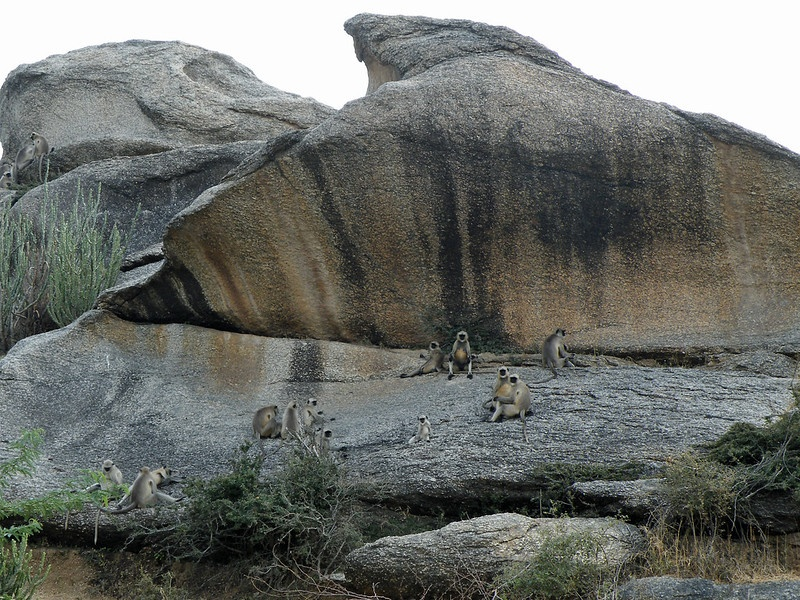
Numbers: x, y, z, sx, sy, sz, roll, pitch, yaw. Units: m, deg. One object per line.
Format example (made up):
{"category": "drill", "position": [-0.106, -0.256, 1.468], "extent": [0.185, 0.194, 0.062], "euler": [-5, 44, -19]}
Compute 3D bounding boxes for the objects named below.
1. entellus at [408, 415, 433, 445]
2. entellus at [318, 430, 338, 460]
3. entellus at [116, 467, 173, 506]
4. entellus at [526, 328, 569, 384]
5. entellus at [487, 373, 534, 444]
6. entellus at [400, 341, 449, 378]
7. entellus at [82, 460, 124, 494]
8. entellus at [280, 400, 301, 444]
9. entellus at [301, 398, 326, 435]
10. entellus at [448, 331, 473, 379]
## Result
{"category": "entellus", "position": [0.283, 1.576, 13.107], "extent": [0.360, 0.418, 0.326], "euler": [-6, -15, 21]}
{"category": "entellus", "position": [-0.916, 1.772, 13.184], "extent": [0.214, 0.280, 0.275], "euler": [18, 19, -6]}
{"category": "entellus", "position": [-2.934, 2.221, 12.800], "extent": [0.463, 0.245, 0.591], "euler": [9, 21, 20]}
{"category": "entellus", "position": [2.153, 0.742, 15.193], "extent": [0.548, 0.486, 1.120], "euler": [-6, 10, 18]}
{"category": "entellus", "position": [1.369, 1.254, 13.182], "extent": [0.317, 0.945, 0.416], "euler": [2, -4, -30]}
{"category": "entellus", "position": [0.448, 0.918, 15.879], "extent": [0.530, 0.449, 0.768], "euler": [22, -34, -33]}
{"category": "entellus", "position": [-3.478, 2.075, 12.683], "extent": [0.343, 0.371, 0.550], "euler": [-9, -23, 18]}
{"category": "entellus", "position": [-1.402, 1.547, 13.915], "extent": [0.209, 0.528, 0.403], "euler": [6, -29, -9]}
{"category": "entellus", "position": [-1.191, 1.502, 14.275], "extent": [0.358, 0.470, 0.346], "euler": [-10, 6, -6]}
{"category": "entellus", "position": [0.907, 0.720, 15.736], "extent": [0.422, 0.665, 1.047], "euler": [2, 4, 4]}
